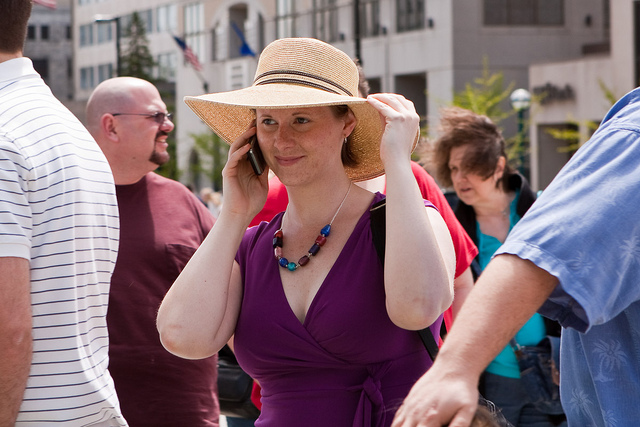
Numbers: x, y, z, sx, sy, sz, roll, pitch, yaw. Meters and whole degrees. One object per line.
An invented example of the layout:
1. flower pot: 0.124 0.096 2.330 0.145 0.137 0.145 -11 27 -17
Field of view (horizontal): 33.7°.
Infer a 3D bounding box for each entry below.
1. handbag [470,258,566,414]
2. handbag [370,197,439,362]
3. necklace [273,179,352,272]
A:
1. handbag: 1.585 0.853 8.028 0.647 1.490 0.604 -11 26 7
2. handbag: 0.487 0.413 6.148 0.095 0.931 0.241 -17 -18 6
3. necklace: -0.056 0.014 6.614 0.449 0.096 0.853 1 46 37
